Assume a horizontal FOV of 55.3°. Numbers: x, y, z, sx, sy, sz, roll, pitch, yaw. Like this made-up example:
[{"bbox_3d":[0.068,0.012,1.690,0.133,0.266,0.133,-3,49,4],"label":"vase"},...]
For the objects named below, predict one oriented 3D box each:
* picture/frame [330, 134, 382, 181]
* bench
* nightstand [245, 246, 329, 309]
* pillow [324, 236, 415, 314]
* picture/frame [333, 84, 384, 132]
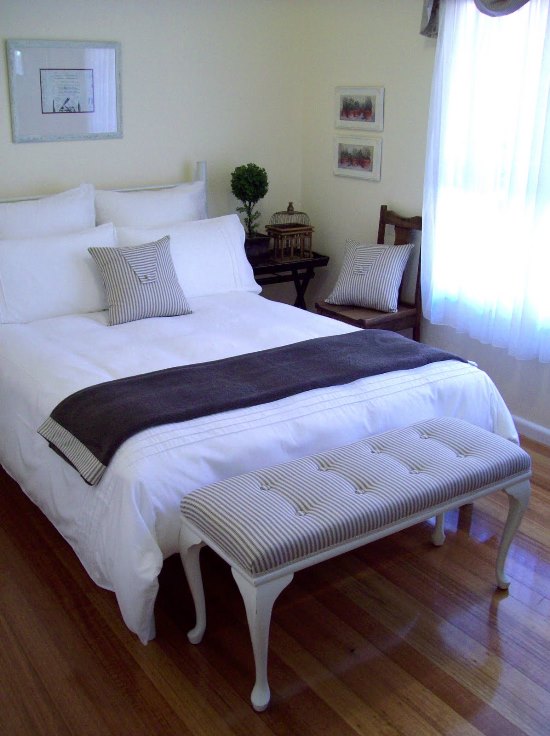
[{"bbox_3d":[0.534,-1.350,3.402,0.046,0.305,0.413,-7,12,-38],"label":"picture/frame"},{"bbox_3d":[0.232,0.459,1.394,0.926,0.483,0.354,-6,11,-34],"label":"bench"},{"bbox_3d":[0.064,-0.659,3.592,0.391,0.603,0.593,-12,24,-25],"label":"nightstand"},{"bbox_3d":[0.557,-0.528,3.083,0.416,0.437,0.130,15,-1,42],"label":"pillow"},{"bbox_3d":[0.534,-1.630,3.302,0.047,0.319,0.416,-7,12,-36],"label":"picture/frame"}]
